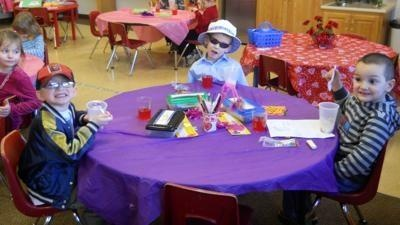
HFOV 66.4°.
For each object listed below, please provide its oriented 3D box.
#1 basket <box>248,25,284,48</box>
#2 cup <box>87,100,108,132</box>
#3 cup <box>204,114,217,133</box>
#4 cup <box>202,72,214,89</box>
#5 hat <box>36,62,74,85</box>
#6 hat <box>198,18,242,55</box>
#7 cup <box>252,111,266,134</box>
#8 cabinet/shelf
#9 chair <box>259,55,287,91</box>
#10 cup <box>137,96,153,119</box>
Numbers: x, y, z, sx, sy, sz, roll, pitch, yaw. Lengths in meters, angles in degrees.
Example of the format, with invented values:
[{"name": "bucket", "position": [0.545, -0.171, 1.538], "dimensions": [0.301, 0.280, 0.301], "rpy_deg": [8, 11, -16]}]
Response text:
[{"name": "basket", "position": [0.911, -1.056, 4.220], "dimensions": [0.313, 0.163, 0.377], "rpy_deg": [-3, 20, -6]}, {"name": "cup", "position": [-0.858, 0.010, 2.594], "dimensions": [0.187, 0.166, 0.230], "rpy_deg": [10, 24, 11]}, {"name": "cup", "position": [0.085, 0.091, 2.497], "dimensions": [0.119, 0.138, 0.142], "rpy_deg": [-2, 7, -11]}, {"name": "cup", "position": [0.075, -0.304, 3.095], "dimensions": [0.127, 0.127, 0.124], "rpy_deg": [0, 14, 0]}, {"name": "hat", "position": [-1.187, -0.306, 2.491], "dimensions": [0.175, 0.230, 0.233], "rpy_deg": [-20, -9, -38]}, {"name": "hat", "position": [0.232, -0.894, 3.277], "dimensions": [0.385, 0.383, 0.189], "rpy_deg": [20, 59, -21]}, {"name": "cup", "position": [0.486, 0.087, 2.577], "dimensions": [0.136, 0.147, 0.143], "rpy_deg": [0, 16, 0]}, {"name": "cabinet/shelf", "position": [2.853, -1.499, 5.414], "dimensions": [0.908, 0.809, 0.568], "rpy_deg": [15, 32, 26]}, {"name": "chair", "position": [0.929, -0.507, 3.863], "dimensions": [0.302, 0.418, 0.314], "rpy_deg": [26, 51, 33]}, {"name": "cup", "position": [-0.483, -0.032, 2.666], "dimensions": [0.132, 0.175, 0.120], "rpy_deg": [-13, 37, -22]}]
